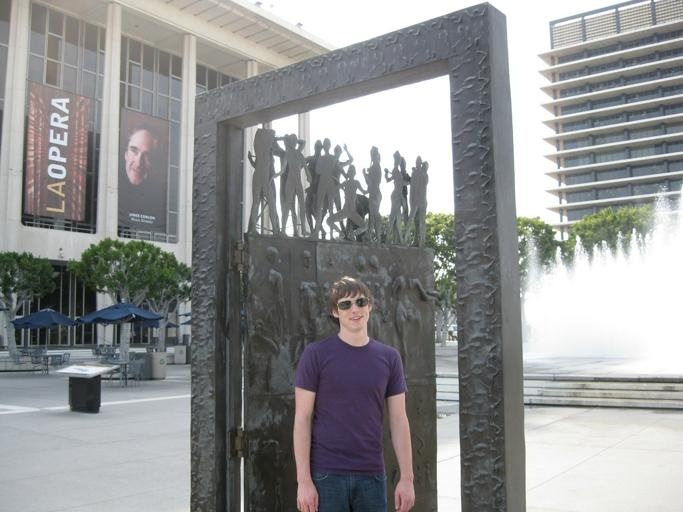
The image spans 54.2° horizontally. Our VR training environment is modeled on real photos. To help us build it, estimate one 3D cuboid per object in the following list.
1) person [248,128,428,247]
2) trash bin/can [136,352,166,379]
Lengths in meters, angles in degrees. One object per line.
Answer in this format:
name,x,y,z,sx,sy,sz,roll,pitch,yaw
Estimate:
person,-0.132,-0.616,6.891,1.354,0.792,0.212,9,-15,-33
trash bin/can,-6.914,4.029,24.262,0.877,0.989,0.439,-1,-2,27
